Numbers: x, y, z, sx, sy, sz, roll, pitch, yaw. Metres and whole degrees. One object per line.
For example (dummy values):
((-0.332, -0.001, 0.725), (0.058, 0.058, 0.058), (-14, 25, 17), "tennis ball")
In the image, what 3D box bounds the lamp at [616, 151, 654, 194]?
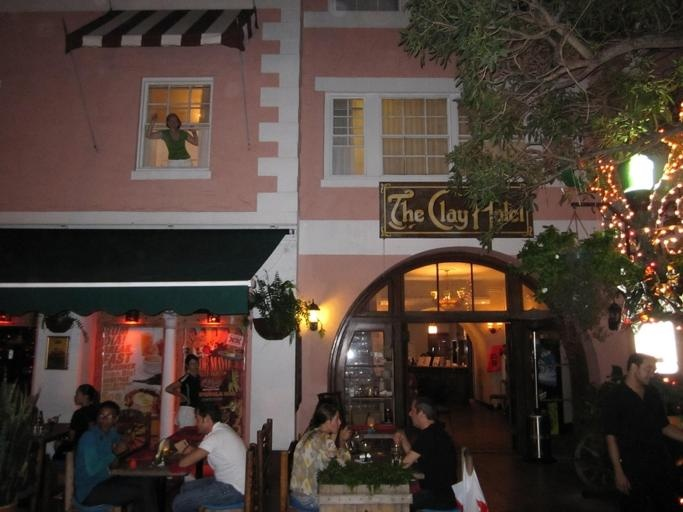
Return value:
((4.143, -1.225, 8.669), (0.551, 0.667, 0.568), (1, 2, 38), "lamp")

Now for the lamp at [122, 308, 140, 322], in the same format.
((-5.090, 1.530, 14.937), (0.390, 0.294, 0.270), (2, -6, -22), "lamp")

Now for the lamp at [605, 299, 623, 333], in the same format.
((4.790, 1.058, 10.639), (0.174, 0.679, 0.366), (3, -1, -31), "lamp")

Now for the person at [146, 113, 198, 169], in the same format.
((-3.518, -2.441, 12.814), (1.055, 1.955, 0.381), (-4, 1, -20), "person")

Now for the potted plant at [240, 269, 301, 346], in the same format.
((-1.307, 1.041, 11.817), (0.873, 1.254, 0.877), (6, 2, 23), "potted plant")

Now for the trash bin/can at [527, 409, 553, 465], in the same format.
((4.369, 3.970, 13.381), (0.503, 1.070, 0.243), (2, -6, -21), "trash bin/can")

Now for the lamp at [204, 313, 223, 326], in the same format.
((-3.163, 1.613, 15.383), (0.451, 0.262, 0.312), (2, -2, -7), "lamp")

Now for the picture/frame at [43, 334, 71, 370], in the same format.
((-6.400, 2.217, 13.748), (0.711, 1.044, 0.105), (-1, -24, -10), "picture/frame")

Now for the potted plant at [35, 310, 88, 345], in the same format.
((-6.304, 1.550, 14.072), (1.244, 0.950, 0.388), (3, 0, -15), "potted plant")
